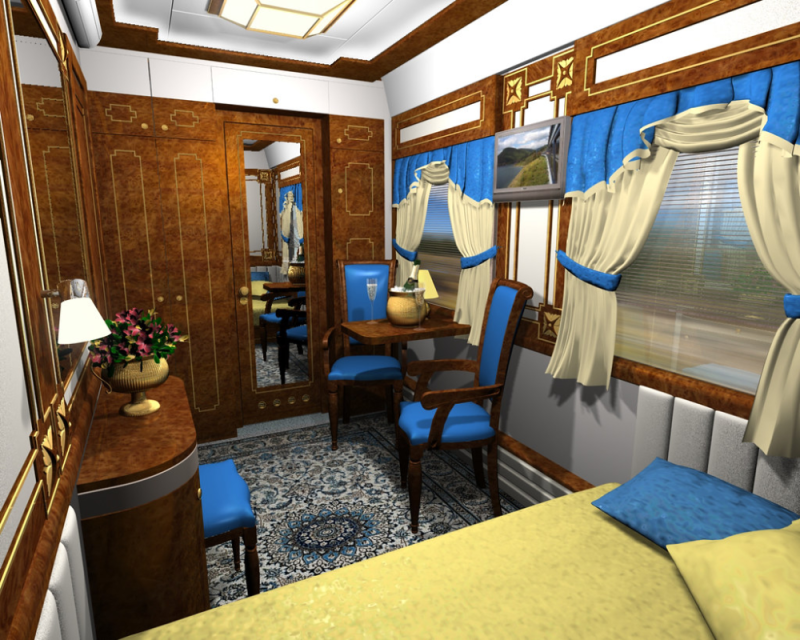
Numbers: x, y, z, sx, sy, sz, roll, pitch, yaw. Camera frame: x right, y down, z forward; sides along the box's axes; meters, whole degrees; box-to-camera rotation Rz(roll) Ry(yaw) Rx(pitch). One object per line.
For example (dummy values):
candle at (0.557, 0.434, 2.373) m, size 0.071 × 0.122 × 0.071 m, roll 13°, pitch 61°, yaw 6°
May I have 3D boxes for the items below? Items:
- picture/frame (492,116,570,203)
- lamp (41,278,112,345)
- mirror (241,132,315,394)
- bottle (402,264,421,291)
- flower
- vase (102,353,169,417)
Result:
picture/frame at (0.821, -1.000, 3.078) m, size 0.074 × 0.471 × 0.693 m, roll -5°, pitch 11°, yaw -28°
lamp at (-1.138, -0.043, 1.802) m, size 0.261 × 0.228 × 0.204 m, roll -15°, pitch 12°, yaw -27°
mirror at (-1.105, -0.498, 4.506) m, size 0.624 × 2.180 × 0.353 m, roll -7°, pitch 17°, yaw -20°
bottle at (0.093, -0.327, 3.946) m, size 0.097 × 0.232 × 0.133 m, roll 12°, pitch 0°, yaw -14°
flower at (-1.246, 0.096, 2.407) m, size 0.416 × 0.249 × 0.345 m, roll 2°, pitch 15°, yaw -6°
vase at (-1.197, 0.303, 2.391) m, size 0.299 × 0.261 × 0.275 m, roll 0°, pitch 1°, yaw -4°
